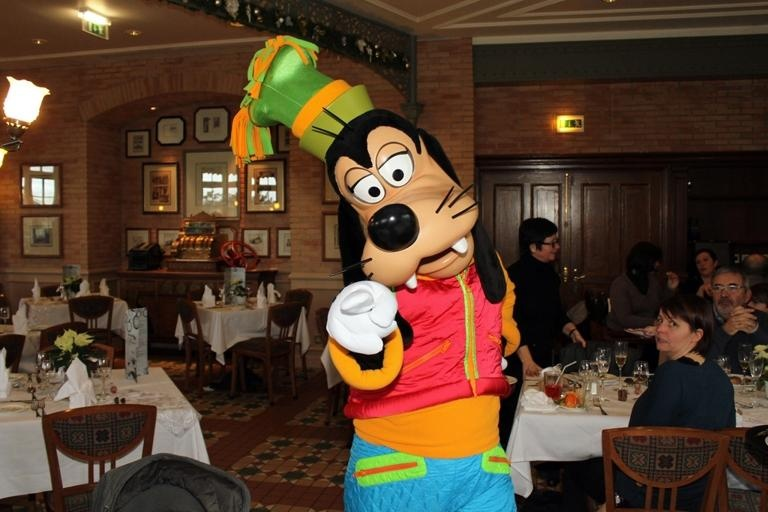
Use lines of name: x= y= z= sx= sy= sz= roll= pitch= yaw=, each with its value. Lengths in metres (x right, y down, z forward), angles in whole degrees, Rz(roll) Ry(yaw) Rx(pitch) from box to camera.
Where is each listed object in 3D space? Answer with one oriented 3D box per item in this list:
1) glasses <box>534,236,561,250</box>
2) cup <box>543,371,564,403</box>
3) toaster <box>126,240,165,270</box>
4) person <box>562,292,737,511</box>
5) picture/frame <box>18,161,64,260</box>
glasses: x=1.522 y=-0.125 z=5.039 sx=0.269 sy=0.114 sz=0.102 roll=-4 pitch=9 yaw=-31
cup: x=1.358 y=1.066 z=4.489 sx=0.205 sy=0.302 sz=0.198 roll=1 pitch=-5 yaw=0
toaster: x=-4.188 y=0.011 z=9.754 sx=0.453 sy=0.449 sz=0.612 roll=1 pitch=8 yaw=8
person: x=1.856 y=1.168 z=3.813 sx=1.001 sy=1.750 sz=0.712 roll=3 pitch=8 yaw=24
picture/frame: x=-6.047 y=-0.799 z=9.740 sx=0.918 sy=1.597 sz=0.276 roll=4 pitch=9 yaw=25
